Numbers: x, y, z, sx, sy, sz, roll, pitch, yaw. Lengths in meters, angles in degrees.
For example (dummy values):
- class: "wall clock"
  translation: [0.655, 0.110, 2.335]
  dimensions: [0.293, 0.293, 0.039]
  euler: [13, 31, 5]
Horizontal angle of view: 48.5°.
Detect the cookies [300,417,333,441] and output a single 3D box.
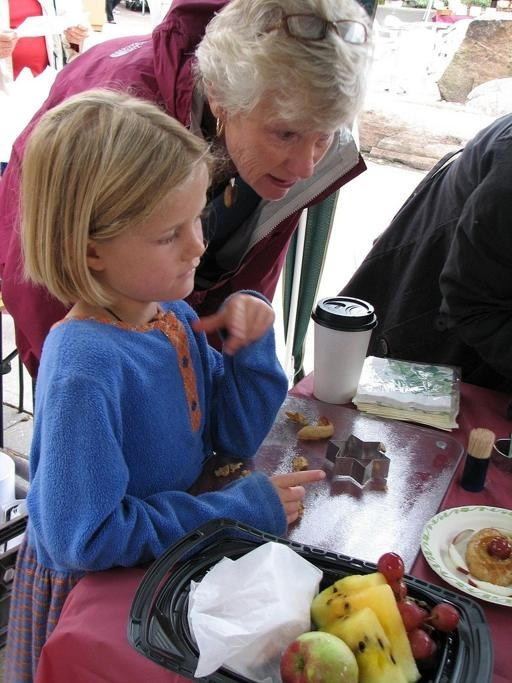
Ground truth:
- class: "cookies"
  translation: [0.128, 0.185, 1.202]
  dimensions: [0.063, 0.022, 0.039]
  euler: [-7, 15, -19]
